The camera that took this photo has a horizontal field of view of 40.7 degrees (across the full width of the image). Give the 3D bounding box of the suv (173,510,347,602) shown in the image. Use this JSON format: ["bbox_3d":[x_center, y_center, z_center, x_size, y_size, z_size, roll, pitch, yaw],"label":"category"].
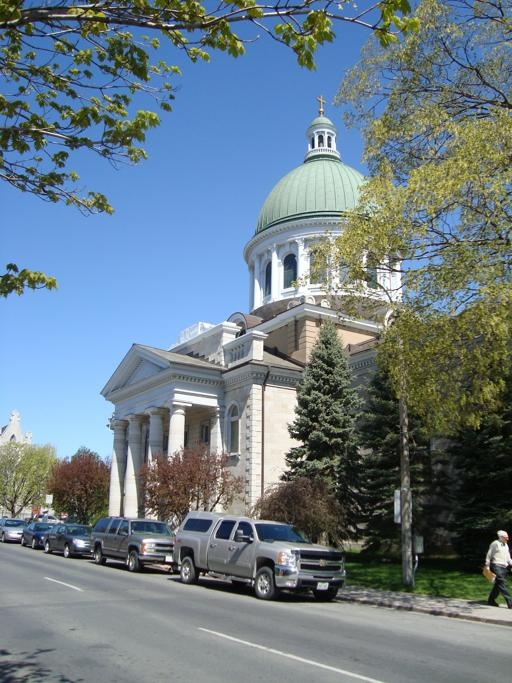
[{"bbox_3d":[0.096,5.054,16.429,2.172,1.798,5.057,9,-15,-31],"label":"suv"}]

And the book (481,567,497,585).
[{"bbox_3d":[4.664,4.627,13.674,0.217,0.297,0.482,-4,-14,22],"label":"book"}]

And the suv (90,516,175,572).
[{"bbox_3d":[-3.788,6.440,21.815,1.655,1.228,3.254,13,-25,-27],"label":"suv"}]
